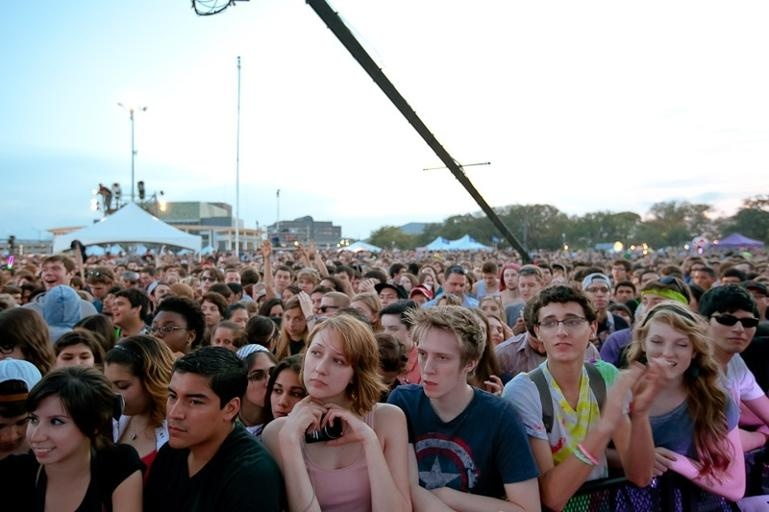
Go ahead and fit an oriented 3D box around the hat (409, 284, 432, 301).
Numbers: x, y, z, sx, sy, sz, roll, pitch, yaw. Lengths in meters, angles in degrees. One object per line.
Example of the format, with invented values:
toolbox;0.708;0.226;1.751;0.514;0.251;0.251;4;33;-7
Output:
hat;0.556;0.562;9.804;0.283;0.217;0.480;1;0;34

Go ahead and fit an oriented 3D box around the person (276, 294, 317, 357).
person;-1.016;0.836;7.637;0.621;0.972;0.488;1;-7;-5

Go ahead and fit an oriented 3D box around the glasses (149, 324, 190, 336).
glasses;-2.432;0.840;7.342;0.421;0.124;0.131;1;0;3

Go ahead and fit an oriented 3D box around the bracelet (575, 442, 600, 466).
bracelet;1.620;1.618;5.296;0.167;0.038;0.165;47;-2;-39

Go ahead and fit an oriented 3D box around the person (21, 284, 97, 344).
person;-4.095;0.640;8.230;0.984;0.349;0.743;11;15;33

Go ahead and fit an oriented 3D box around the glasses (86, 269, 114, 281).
glasses;-4.485;0.320;10.474;0.232;0.115;0.300;-1;-6;-1

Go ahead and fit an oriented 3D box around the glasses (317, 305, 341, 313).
glasses;-0.663;0.651;7.924;0.144;0.111;0.469;0;0;-32

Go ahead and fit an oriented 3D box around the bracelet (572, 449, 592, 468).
bracelet;1.601;1.649;5.304;0.128;0.029;0.130;42;-8;25

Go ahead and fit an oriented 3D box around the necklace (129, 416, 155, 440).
necklace;-2.157;1.552;5.877;0.173;0.214;0.120;1;-16;-10
